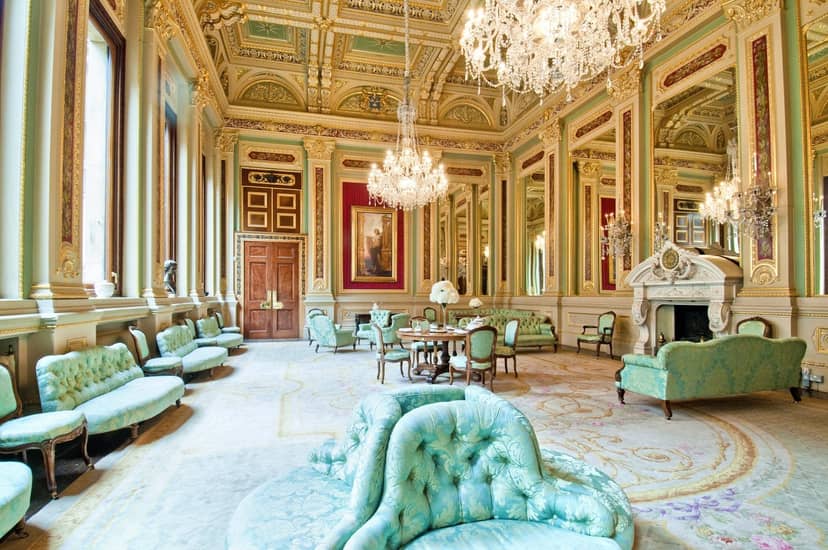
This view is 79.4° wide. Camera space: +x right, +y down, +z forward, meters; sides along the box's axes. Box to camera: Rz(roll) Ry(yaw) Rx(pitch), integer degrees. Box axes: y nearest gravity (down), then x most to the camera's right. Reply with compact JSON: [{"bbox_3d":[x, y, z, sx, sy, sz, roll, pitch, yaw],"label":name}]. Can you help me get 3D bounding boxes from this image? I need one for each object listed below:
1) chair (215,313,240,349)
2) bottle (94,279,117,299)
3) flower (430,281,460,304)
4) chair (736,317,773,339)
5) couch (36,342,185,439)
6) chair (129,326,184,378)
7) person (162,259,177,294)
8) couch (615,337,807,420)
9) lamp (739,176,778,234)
[{"bbox_3d":[-4.127,1.254,11.204,0.724,0.830,0.613,1,-1,-20],"label":"chair"},{"bbox_3d":[-4.288,0.202,7.030,0.266,0.263,0.290,-9,-14,33],"label":"bottle"},{"bbox_3d":[0.592,0.292,8.726,0.461,0.459,0.431,-2,1,42],"label":"flower"},{"bbox_3d":[5.169,0.797,7.559,0.183,0.310,0.225,13,-15,-18],"label":"chair"},{"bbox_3d":[-3.561,1.333,6.162,0.929,0.863,1.822,1,3,-1],"label":"couch"},{"bbox_3d":[-3.816,1.222,7.465,0.689,0.901,0.606,-3,1,-14],"label":"chair"},{"bbox_3d":[-4.469,0.038,9.240,0.183,0.546,0.870,-2,-1,-23],"label":"person"},{"bbox_3d":[4.129,1.325,6.864,2.379,1.184,0.585,-2,0,-13],"label":"couch"},{"bbox_3d":[5.391,-1.067,7.821,0.477,1.055,0.259,-3,0,42],"label":"lamp"}]
